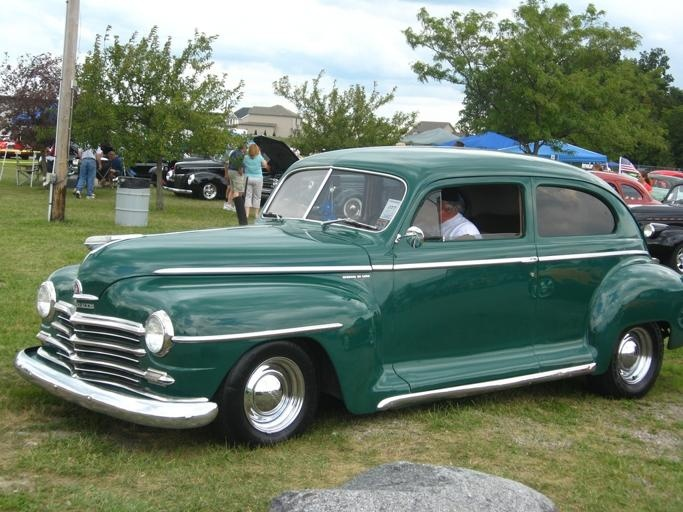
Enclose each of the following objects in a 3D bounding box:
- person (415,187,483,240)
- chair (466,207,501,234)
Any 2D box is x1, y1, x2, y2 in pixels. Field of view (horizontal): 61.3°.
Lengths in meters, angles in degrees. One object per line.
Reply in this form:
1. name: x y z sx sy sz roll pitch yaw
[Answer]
1. person: 1.023 -0.373 5.367 0.360 0.476 0.751 7 0 -30
2. chair: 1.325 -0.341 5.517 0.292 0.215 0.302 9 -10 -29
